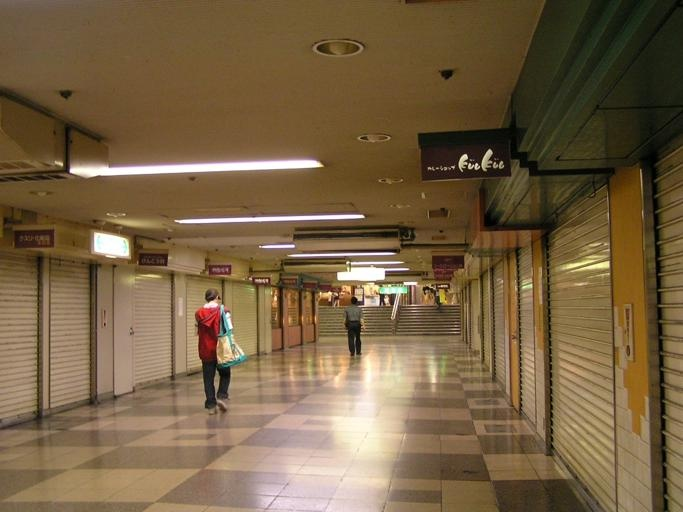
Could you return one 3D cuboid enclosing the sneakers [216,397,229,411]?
[{"bbox_3d":[-2.154,2.688,9.562,0.138,0.276,0.268,-2,29,4],"label":"sneakers"}]

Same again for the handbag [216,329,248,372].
[{"bbox_3d":[-2.065,1.611,9.512,0.391,0.780,0.622,-1,8,36],"label":"handbag"}]
